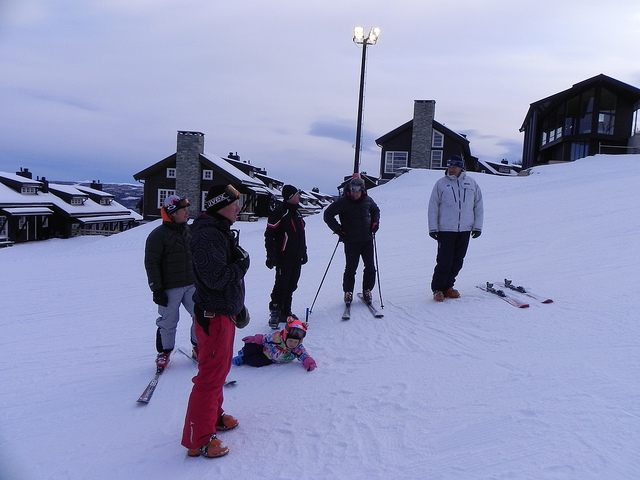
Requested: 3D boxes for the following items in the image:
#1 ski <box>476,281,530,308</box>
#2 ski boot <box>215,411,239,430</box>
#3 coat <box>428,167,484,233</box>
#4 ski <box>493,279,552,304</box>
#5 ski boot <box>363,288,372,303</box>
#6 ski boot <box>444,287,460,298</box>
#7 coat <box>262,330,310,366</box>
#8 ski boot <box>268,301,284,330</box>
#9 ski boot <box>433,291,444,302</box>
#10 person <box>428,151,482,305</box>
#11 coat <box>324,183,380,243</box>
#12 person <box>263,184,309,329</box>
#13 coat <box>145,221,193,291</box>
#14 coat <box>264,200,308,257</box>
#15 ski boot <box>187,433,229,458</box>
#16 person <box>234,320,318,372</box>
[{"bbox_3d":[2.796,0.839,8.023,0.147,0.105,0.888,-6,8,-6],"label":"ski"},{"bbox_3d":[-0.961,1.886,5.392,0.238,0.120,0.104,-2,2,10],"label":"ski boot"},{"bbox_3d":[2.127,-0.624,8.198,0.832,1.017,0.515,1,11,5],"label":"coat"},{"bbox_3d":[3.175,0.794,8.103,0.165,0.111,0.961,-16,13,-9],"label":"ski"},{"bbox_3d":[0.758,0.902,8.435,0.075,0.107,0.253,3,14,-13],"label":"ski boot"},{"bbox_3d":[2.090,0.833,8.314,0.121,0.120,0.252,-6,2,-28],"label":"ski boot"},{"bbox_3d":[-0.488,1.331,6.484,0.551,0.409,0.238,12,-3,5],"label":"coat"},{"bbox_3d":[-0.661,1.113,7.846,0.210,0.357,0.369,-1,11,-1],"label":"ski boot"},{"bbox_3d":[1.884,0.885,8.232,0.163,0.165,0.153,-1,11,-5],"label":"ski boot"},{"bbox_3d":[2.105,-0.173,8.218,0.813,2.269,0.526,-4,12,-17],"label":"person"},{"bbox_3d":[0.564,-0.422,8.472,1.127,1.029,0.435,-5,6,-28],"label":"coat"},{"bbox_3d":[-0.552,0.226,7.911,0.397,2.080,0.823,7,13,33],"label":"person"},{"bbox_3d":[-1.917,0.170,6.917,0.478,0.949,0.963,-2,3,31],"label":"coat"},{"bbox_3d":[-0.478,-0.170,8.066,0.514,0.959,0.973,4,5,39],"label":"coat"},{"bbox_3d":[-1.091,1.989,5.107,0.371,0.201,0.197,-1,2,8],"label":"ski boot"},{"bbox_3d":[-0.567,1.337,6.731,1.262,0.676,0.514,1,-5,30],"label":"person"}]
